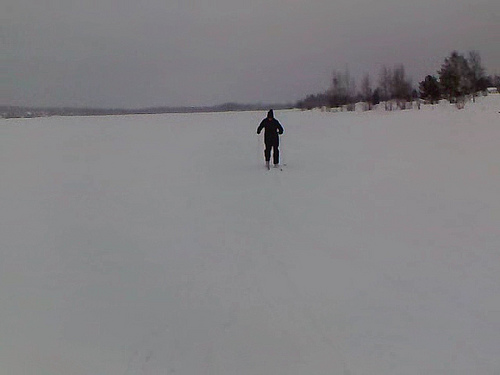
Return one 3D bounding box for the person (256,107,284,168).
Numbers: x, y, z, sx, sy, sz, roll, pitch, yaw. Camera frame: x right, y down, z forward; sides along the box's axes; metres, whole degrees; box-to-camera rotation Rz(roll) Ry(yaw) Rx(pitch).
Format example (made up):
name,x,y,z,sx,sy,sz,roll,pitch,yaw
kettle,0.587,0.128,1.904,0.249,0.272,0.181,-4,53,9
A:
name,x,y,z,sx,sy,sz,roll,pitch,yaw
person,0.708,-1.571,21.219,0.732,2.030,0.532,-9,-24,19
